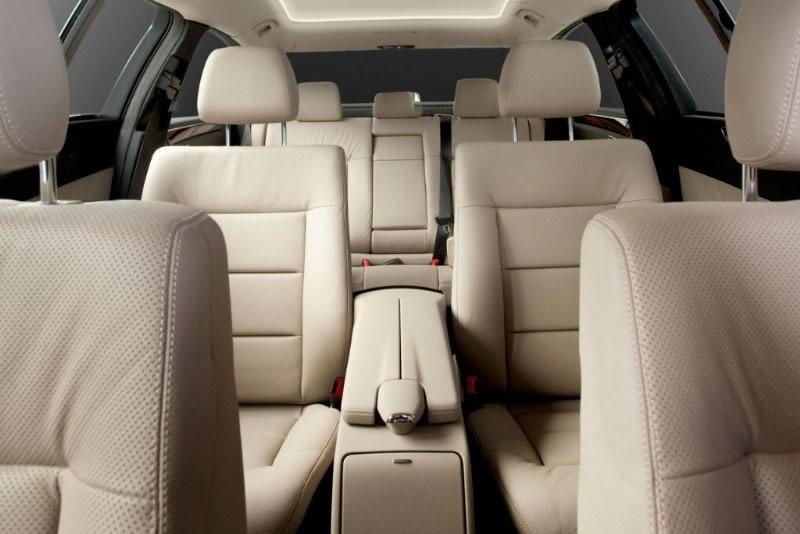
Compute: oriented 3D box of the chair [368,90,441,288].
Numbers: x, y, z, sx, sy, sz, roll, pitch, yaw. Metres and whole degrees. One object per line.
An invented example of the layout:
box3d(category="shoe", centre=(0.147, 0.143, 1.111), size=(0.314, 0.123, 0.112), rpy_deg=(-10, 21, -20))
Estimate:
box3d(category="chair", centre=(0.020, -0.447, 3.334), size=(0.355, 0.850, 0.280), rpy_deg=(1, 5, -3))
